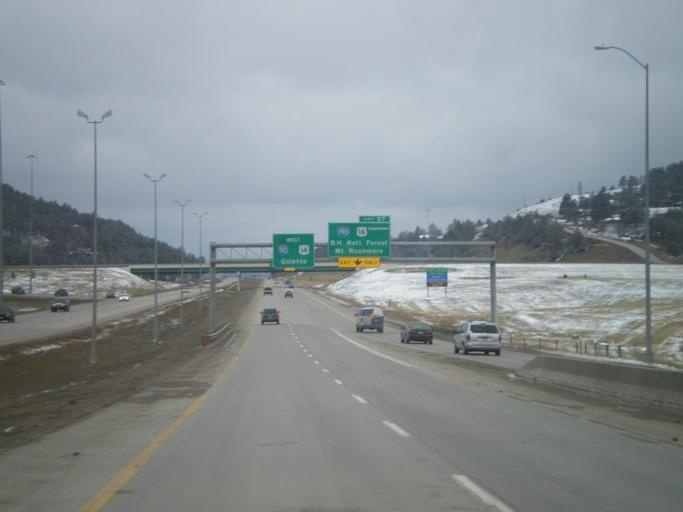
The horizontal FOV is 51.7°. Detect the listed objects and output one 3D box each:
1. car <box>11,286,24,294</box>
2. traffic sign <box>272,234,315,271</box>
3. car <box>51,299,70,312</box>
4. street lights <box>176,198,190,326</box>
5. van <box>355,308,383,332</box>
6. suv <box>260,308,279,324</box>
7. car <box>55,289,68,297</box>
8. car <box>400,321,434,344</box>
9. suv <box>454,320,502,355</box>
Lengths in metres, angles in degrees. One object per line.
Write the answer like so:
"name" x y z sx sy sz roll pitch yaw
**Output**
"car" -53.929 5.827 117.087 1.869 1.097 4.698 -1 -3 -27
"traffic sign" -3.420 -0.369 49.298 2.383 2.467 0.362 0 -6 4
"car" -34.593 6.228 86.946 1.639 1.258 2.264 -2 -2 6
"street lights" -2.277 0.210 10.503 0.342 1.820 0.078 0 22 -22
"van" 2.410 5.482 59.870 2.141 2.090 2.485 -2 -2 5
"suv" -6.798 5.712 66.630 1.582 1.448 2.257 -1 -2 -11
"car" -46.388 6.127 116.679 1.185 1.116 2.099 1 -5 -10
"car" 4.900 5.083 46.309 2.049 1.335 1.588 -3 -2 27
"suv" 6.983 4.303 37.132 1.351 1.318 2.473 0 2 -2
